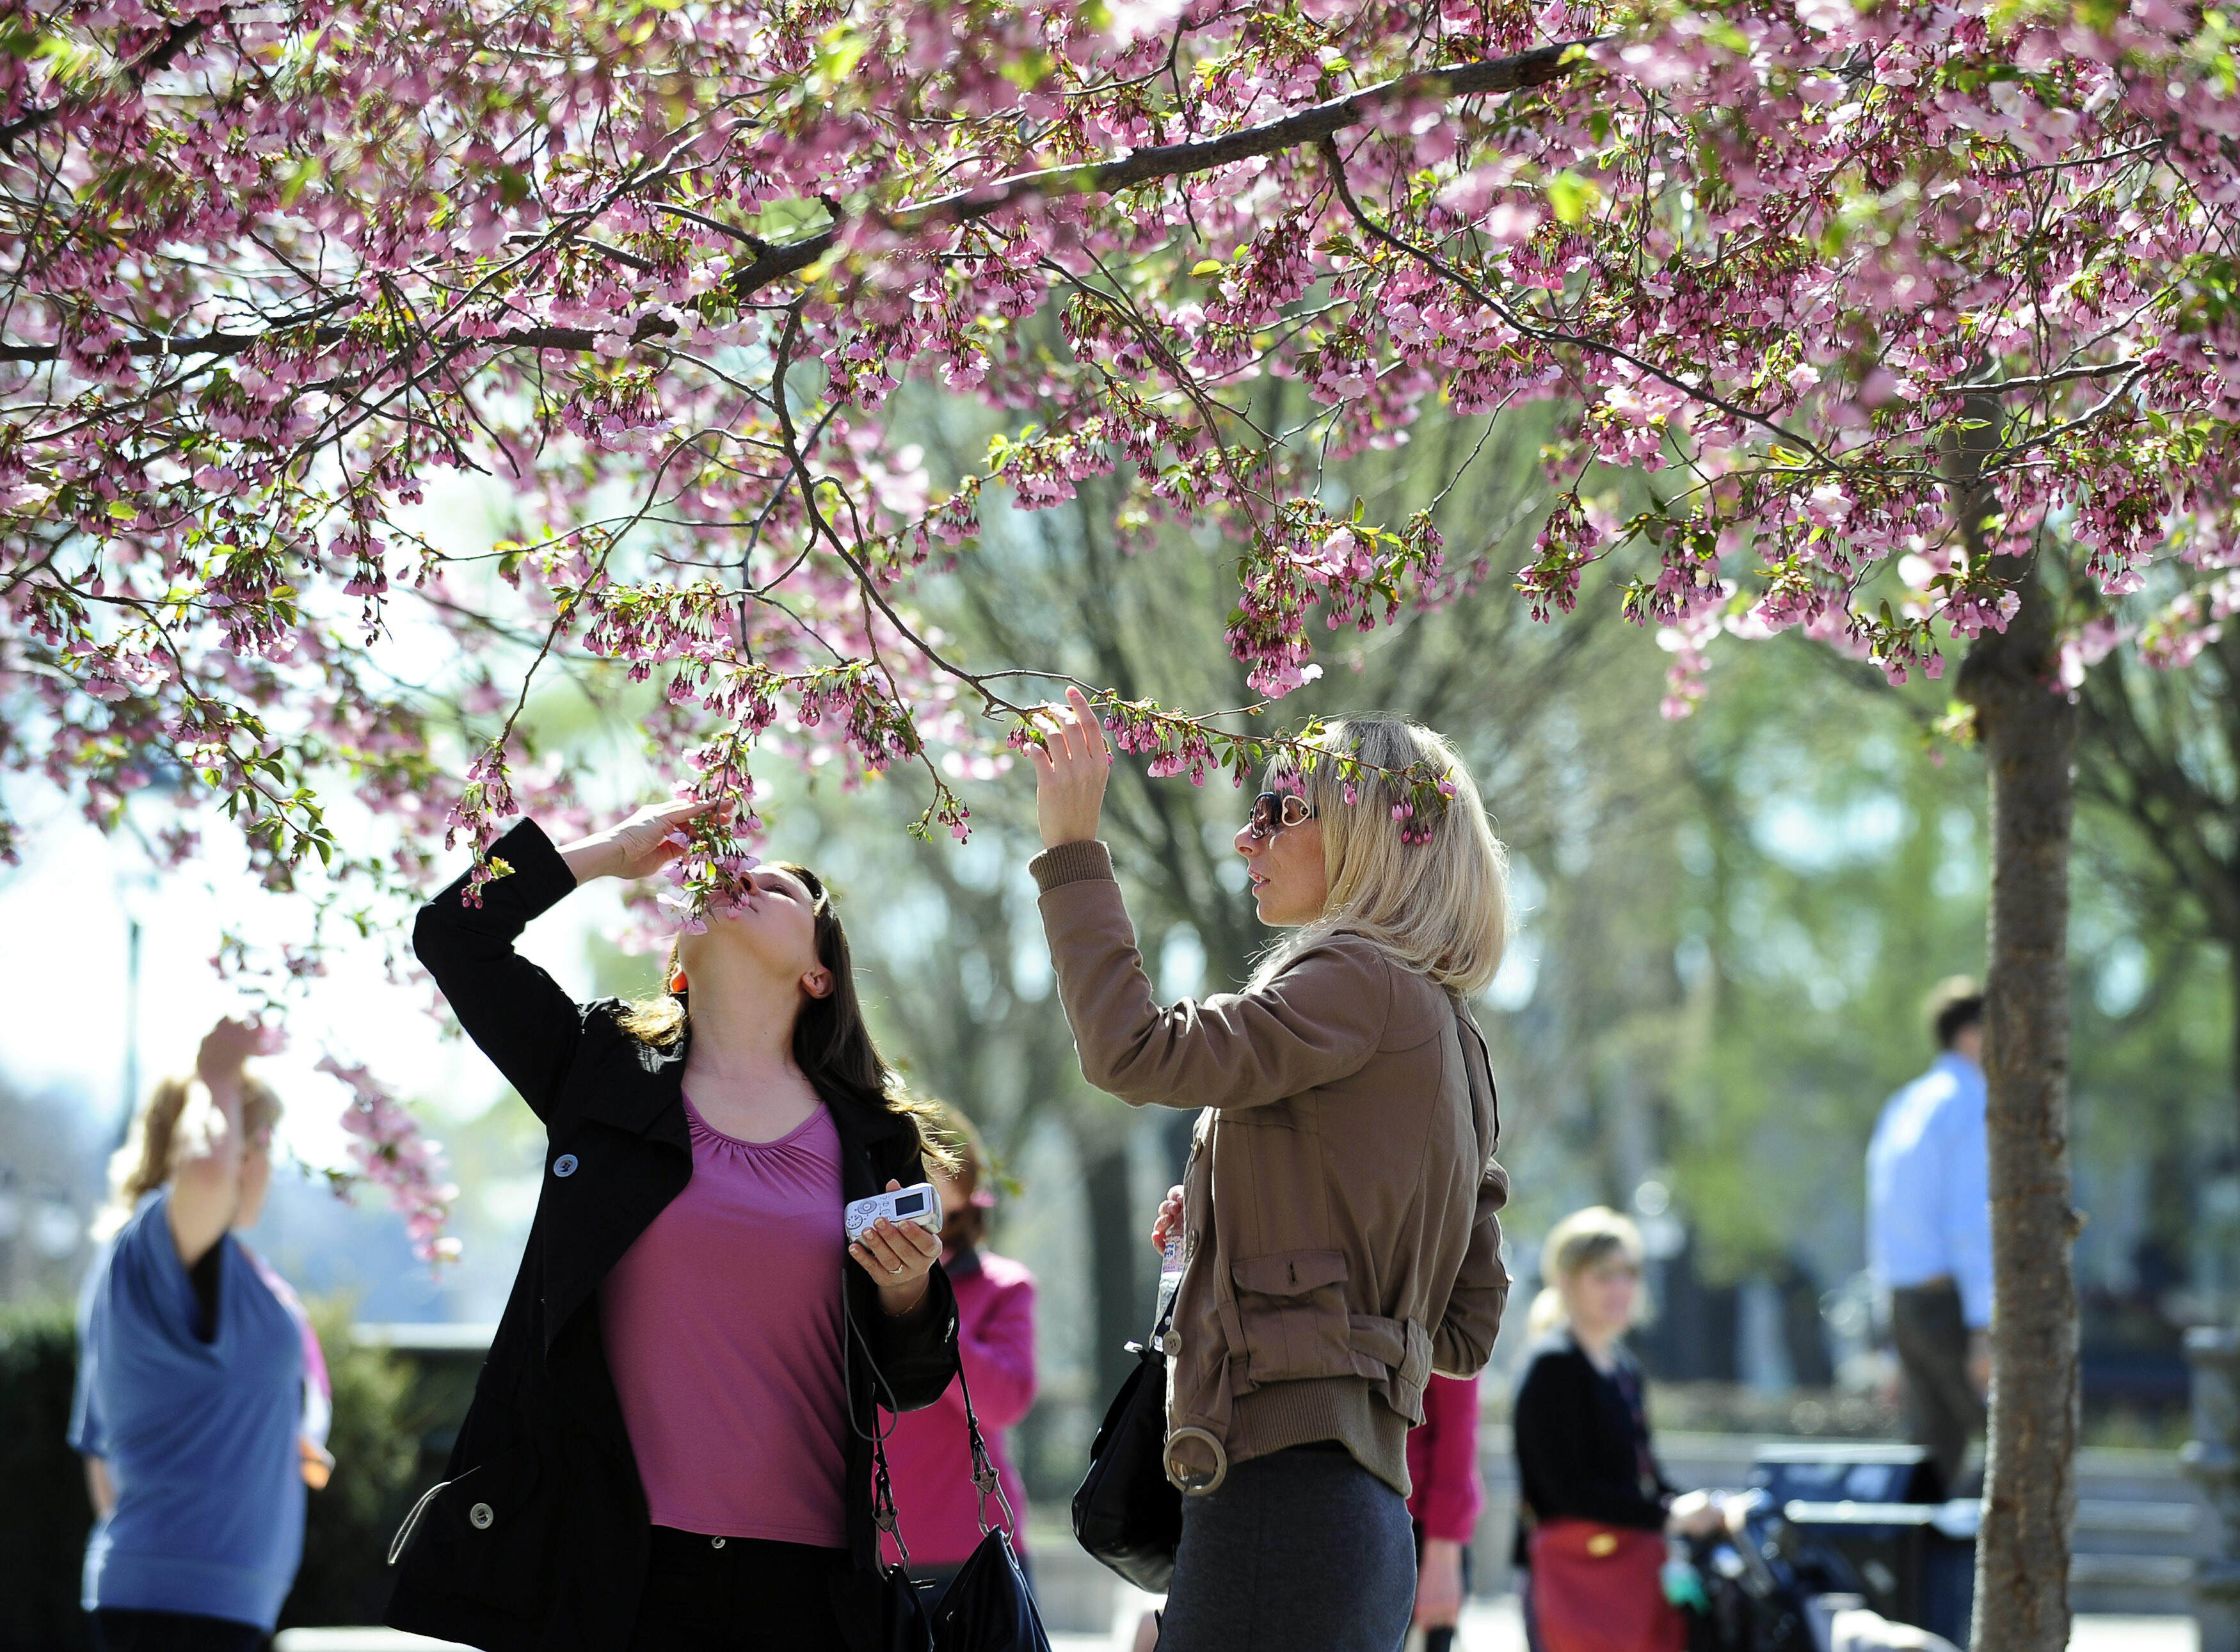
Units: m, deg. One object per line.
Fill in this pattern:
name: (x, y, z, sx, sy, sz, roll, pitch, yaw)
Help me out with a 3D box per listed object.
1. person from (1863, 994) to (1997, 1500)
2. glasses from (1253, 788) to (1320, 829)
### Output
person: (2.946, 1.453, 16.318, 0.392, 2.035, 0.900, 0, -15, 8)
glasses: (0.451, -0.042, 12.288, 0.119, 0.051, 0.114, 8, -10, -20)
